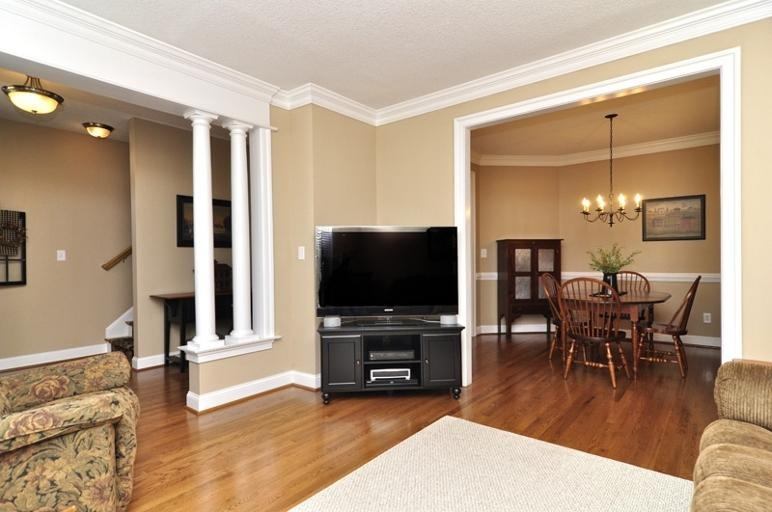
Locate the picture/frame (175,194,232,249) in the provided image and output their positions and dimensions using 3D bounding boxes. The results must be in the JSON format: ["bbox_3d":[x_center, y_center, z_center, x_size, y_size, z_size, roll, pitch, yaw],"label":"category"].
[{"bbox_3d":[-2.220,-0.428,5.935,0.062,0.690,0.839,5,3,42],"label":"picture/frame"}]

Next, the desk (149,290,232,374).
[{"bbox_3d":[-2.279,0.878,5.648,0.405,0.881,1.050,-2,-3,34],"label":"desk"}]

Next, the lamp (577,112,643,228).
[{"bbox_3d":[3.286,-1.111,7.164,0.866,1.507,1.192,5,14,21],"label":"lamp"}]

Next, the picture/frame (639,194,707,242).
[{"bbox_3d":[4.145,-0.552,7.114,0.747,0.663,0.036,-1,-4,36],"label":"picture/frame"}]

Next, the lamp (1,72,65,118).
[{"bbox_3d":[-3.582,-1.640,5.024,0.456,0.358,0.620,-10,16,-36],"label":"lamp"}]

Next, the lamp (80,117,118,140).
[{"bbox_3d":[-3.470,-1.539,6.017,0.312,0.106,0.306,3,-4,-36],"label":"lamp"}]

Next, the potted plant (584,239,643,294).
[{"bbox_3d":[2.891,0.100,6.715,0.835,0.831,0.899,-6,0,36],"label":"potted plant"}]

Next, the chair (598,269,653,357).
[{"bbox_3d":[3.291,0.713,7.056,0.973,1.223,0.893,-5,-6,42],"label":"chair"}]

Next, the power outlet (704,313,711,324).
[{"bbox_3d":[4.449,0.869,6.883,0.101,0.141,0.045,6,15,23],"label":"power outlet"}]
